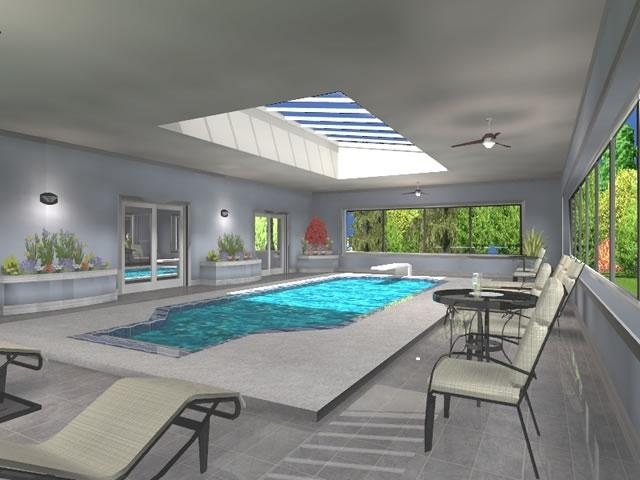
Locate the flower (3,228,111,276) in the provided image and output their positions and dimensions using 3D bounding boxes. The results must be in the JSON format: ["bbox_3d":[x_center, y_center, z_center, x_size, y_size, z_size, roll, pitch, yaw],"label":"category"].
[{"bbox_3d":[-5.696,0.257,8.543,0.910,0.935,1.925,5,8,34],"label":"flower"}]

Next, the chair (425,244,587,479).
[{"bbox_3d":[1.952,1.045,4.108,1.578,2.479,1.310,2,-2,24],"label":"chair"}]
